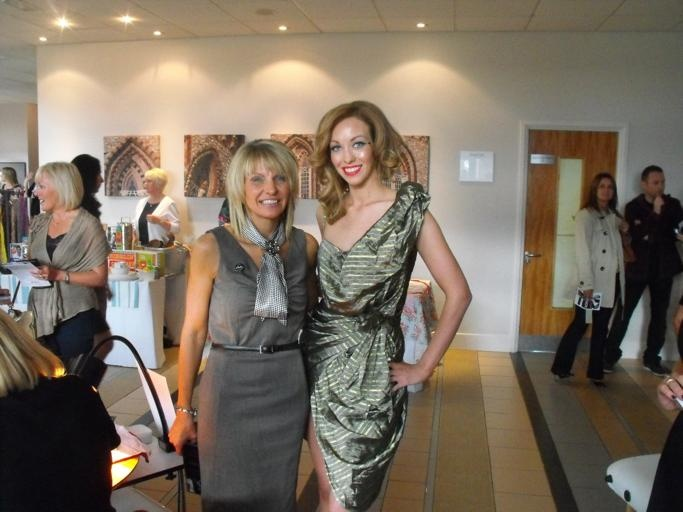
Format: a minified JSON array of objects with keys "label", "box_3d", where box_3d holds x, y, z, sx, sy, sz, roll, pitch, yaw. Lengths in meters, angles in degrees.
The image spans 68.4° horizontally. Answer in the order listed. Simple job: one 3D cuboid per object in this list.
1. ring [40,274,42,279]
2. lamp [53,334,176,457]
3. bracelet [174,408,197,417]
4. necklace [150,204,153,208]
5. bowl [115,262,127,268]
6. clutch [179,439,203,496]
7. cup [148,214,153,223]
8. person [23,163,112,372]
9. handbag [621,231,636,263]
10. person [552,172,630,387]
[{"label":"ring","box_3d":[-1.815,0.118,3.043,0.020,0.028,0.018,-4,10,-33]},{"label":"lamp","box_3d":[-0.820,0.525,1.836,0.359,0.549,0.126,-4,26,-12]},{"label":"bracelet","box_3d":[-0.580,0.583,1.899,0.055,0.023,0.043,10,-7,30]},{"label":"necklace","box_3d":[-2.232,-0.594,5.919,0.038,0.011,0.039,8,-12,12]},{"label":"bowl","box_3d":[-2.160,0.082,4.915,0.057,0.046,0.060,0,-5,0]},{"label":"clutch","box_3d":[-0.555,0.795,1.915,0.111,0.170,0.055,5,9,25]},{"label":"cup","box_3d":[-2.122,-0.413,5.588,0.063,0.091,0.133,-2,9,-22]},{"label":"person","box_3d":[-1.794,0.247,3.270,0.526,1.627,0.512,7,11,-2]},{"label":"handbag","box_3d":[2.908,-0.092,5.057,0.088,0.322,0.231,-1,-4,-3]},{"label":"person","box_3d":[2.310,0.204,4.711,0.512,1.942,0.406,2,8,8]}]
